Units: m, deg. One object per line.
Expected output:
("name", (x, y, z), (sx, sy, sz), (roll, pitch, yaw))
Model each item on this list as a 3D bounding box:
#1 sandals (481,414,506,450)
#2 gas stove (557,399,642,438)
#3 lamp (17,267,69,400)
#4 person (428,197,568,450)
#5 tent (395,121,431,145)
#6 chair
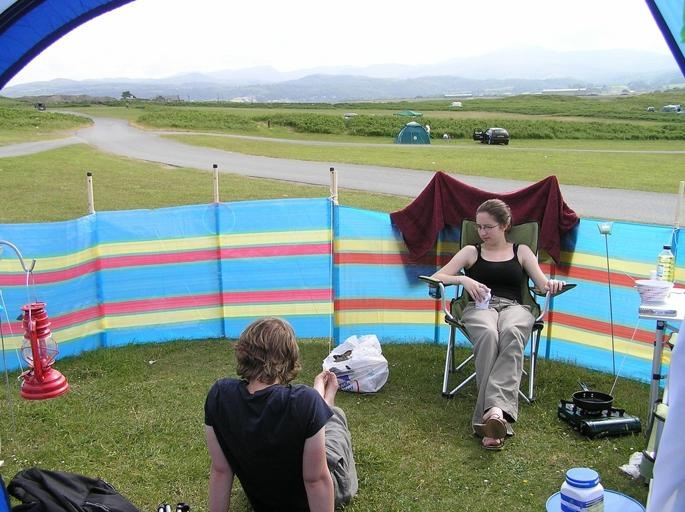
("sandals", (1.199, 1.372, 4.428), (0.169, 0.302, 0.200), (2, 11, 16))
("gas stove", (2.177, 1.365, 4.815), (0.571, 0.188, 0.536), (4, 3, -13))
("lamp", (-2.291, 0.604, 4.116), (0.373, 0.998, 0.420), (-2, 12, -9))
("person", (1.346, 0.554, 4.950), (1.238, 2.065, 1.099), (2, 17, 7))
("tent", (4.775, -8.273, 38.086), (1.938, 1.288, 1.888), (-1, 13, -2))
("chair", (1.471, 0.503, 5.437), (1.561, 1.557, 1.121), (3, 9, 20))
